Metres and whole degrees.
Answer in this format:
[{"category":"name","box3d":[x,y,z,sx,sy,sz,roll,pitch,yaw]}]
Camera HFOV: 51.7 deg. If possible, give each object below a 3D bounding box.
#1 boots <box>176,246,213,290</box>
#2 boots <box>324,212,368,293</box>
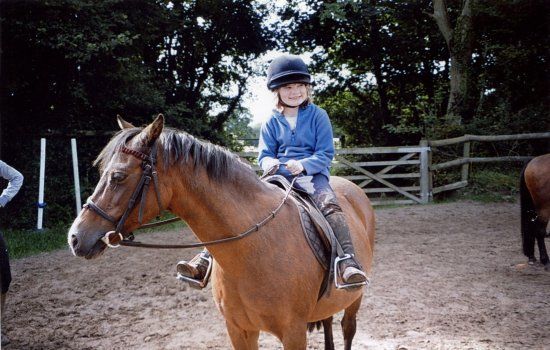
[{"category":"boots","box3d":[-1.530,1.834,11.557,0.706,0.428,0.974,8,34,13]},{"category":"boots","box3d":[1.391,1.550,11.207,0.563,1.579,0.485,-11,-22,13]}]
